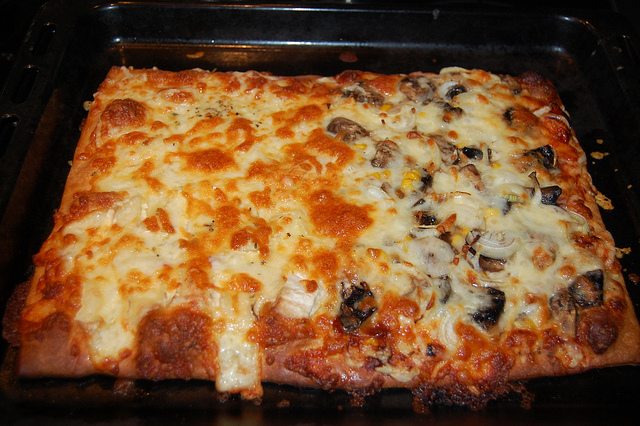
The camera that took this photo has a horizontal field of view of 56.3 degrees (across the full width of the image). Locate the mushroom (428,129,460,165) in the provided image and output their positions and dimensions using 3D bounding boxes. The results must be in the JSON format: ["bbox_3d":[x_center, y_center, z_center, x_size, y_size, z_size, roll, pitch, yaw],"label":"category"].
[{"bbox_3d":[1.234,-0.642,5.959,0.255,0.112,0.329,-28,85,0],"label":"mushroom"}]

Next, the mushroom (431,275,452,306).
[{"bbox_3d":[1.103,0.673,5.272,0.152,0.055,0.233,1,71,-1],"label":"mushroom"}]

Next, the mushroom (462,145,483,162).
[{"bbox_3d":[1.494,-0.582,5.867,0.177,0.049,0.134,7,68,3],"label":"mushroom"}]

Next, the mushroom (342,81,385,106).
[{"bbox_3d":[0.474,-1.214,6.139,0.326,0.083,0.238,6,59,-10],"label":"mushroom"}]

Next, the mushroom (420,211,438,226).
[{"bbox_3d":[1.010,0.057,5.568,0.103,0.029,0.098,-1,61,3],"label":"mushroom"}]

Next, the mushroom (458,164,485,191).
[{"bbox_3d":[1.462,-0.352,5.744,0.175,0.069,0.262,-21,81,-14],"label":"mushroom"}]

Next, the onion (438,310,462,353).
[{"bbox_3d":[1.127,1.026,5.234,0.179,0.062,0.348,9,73,0],"label":"onion"}]

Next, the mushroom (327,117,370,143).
[{"bbox_3d":[0.272,-0.832,5.918,0.350,0.084,0.228,21,58,-1],"label":"mushroom"}]
